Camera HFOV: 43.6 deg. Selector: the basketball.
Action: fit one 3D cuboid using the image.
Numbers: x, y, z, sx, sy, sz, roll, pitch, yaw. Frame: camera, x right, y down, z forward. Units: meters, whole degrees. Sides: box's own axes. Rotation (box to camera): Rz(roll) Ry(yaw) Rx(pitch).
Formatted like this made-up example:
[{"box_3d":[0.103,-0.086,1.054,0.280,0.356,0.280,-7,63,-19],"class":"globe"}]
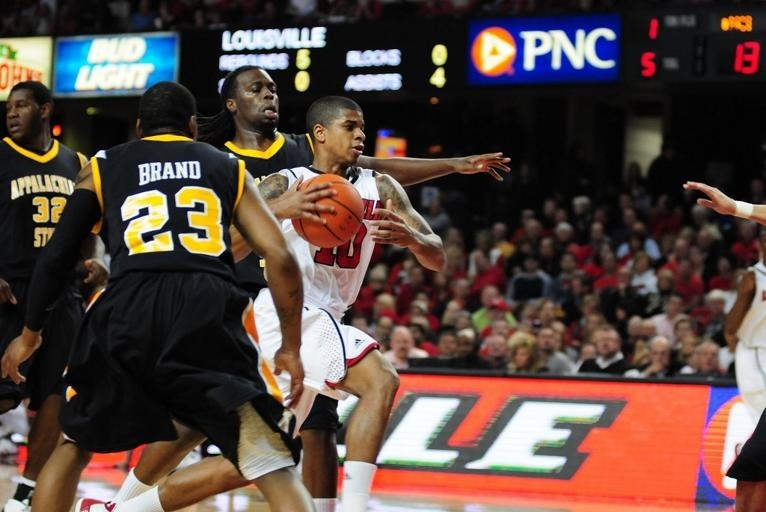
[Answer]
[{"box_3d":[-0.389,-0.330,6.488,0.492,0.466,0.475,-3,17,-37],"class":"basketball"}]
